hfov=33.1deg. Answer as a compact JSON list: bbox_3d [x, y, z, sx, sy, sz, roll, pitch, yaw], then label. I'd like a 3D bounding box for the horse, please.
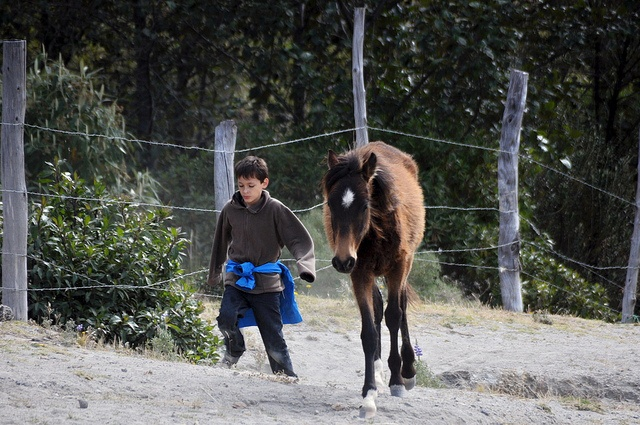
[{"bbox_3d":[0.879,1.038,17.439,1.060,4.383,2.269,0,-2,32],"label":"horse"}]

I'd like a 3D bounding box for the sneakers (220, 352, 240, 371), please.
[{"bbox_3d":[-1.491,2.482,17.623,0.273,0.315,0.191,20,-12,24],"label":"sneakers"}]
